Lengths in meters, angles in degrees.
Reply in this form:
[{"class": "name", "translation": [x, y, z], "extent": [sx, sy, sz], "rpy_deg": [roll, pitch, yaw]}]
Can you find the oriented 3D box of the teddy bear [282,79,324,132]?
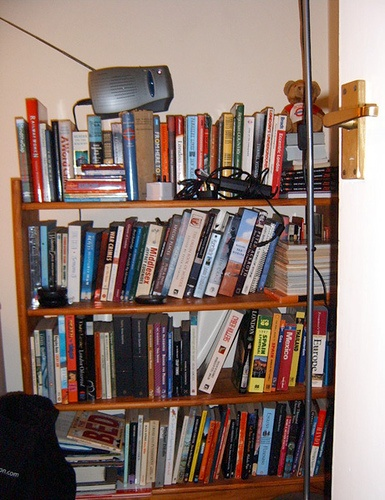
[{"class": "teddy bear", "translation": [0.382, -0.510, 1.545], "extent": [0.136, 0.217, 0.357], "rpy_deg": [2, 7, 13]}]
